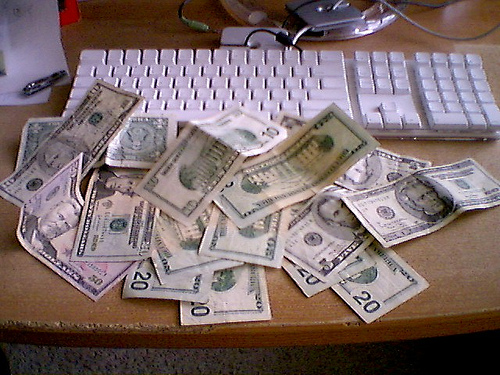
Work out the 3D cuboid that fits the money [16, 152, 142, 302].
[{"bbox_3d":[-0.308,0.079,0.734,0.148,0.024,0.263,-29,67,-21],"label":"money"}]
